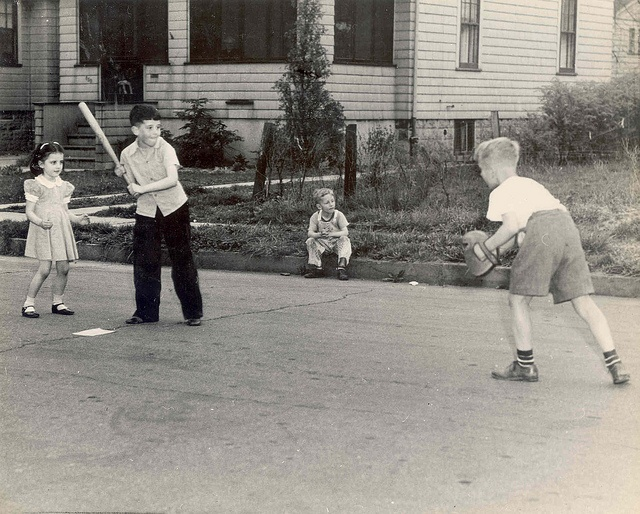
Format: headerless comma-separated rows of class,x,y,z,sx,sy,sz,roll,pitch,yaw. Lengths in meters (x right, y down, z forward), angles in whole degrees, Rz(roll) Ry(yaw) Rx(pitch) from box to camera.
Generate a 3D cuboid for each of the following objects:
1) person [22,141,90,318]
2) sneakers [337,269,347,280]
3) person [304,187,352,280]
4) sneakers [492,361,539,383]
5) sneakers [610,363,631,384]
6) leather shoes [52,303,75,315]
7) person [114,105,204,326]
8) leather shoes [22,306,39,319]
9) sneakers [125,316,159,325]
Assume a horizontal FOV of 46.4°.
person,-2.819,-0.311,7.811,0.640,1.766,0.618,-3,8,-21
sneakers,0.309,0.232,9.905,0.134,0.141,0.168,0,9,1
person,0.110,-0.316,9.997,0.641,1.192,0.423,0,8,1
sneakers,1.519,0.868,5.760,0.329,0.162,0.139,2,3,16
sneakers,2.233,0.868,5.541,0.094,0.098,0.196,-8,6,-2
leather shoes,-2.675,0.556,7.794,0.257,0.127,0.103,3,6,14
person,-1.540,-0.375,7.149,0.775,2.144,0.543,0,8,-2
leather shoes,-2.963,0.557,7.623,0.157,0.108,0.205,-4,10,-23
sneakers,-1.745,0.638,7.375,0.278,0.127,0.108,8,-8,-19
